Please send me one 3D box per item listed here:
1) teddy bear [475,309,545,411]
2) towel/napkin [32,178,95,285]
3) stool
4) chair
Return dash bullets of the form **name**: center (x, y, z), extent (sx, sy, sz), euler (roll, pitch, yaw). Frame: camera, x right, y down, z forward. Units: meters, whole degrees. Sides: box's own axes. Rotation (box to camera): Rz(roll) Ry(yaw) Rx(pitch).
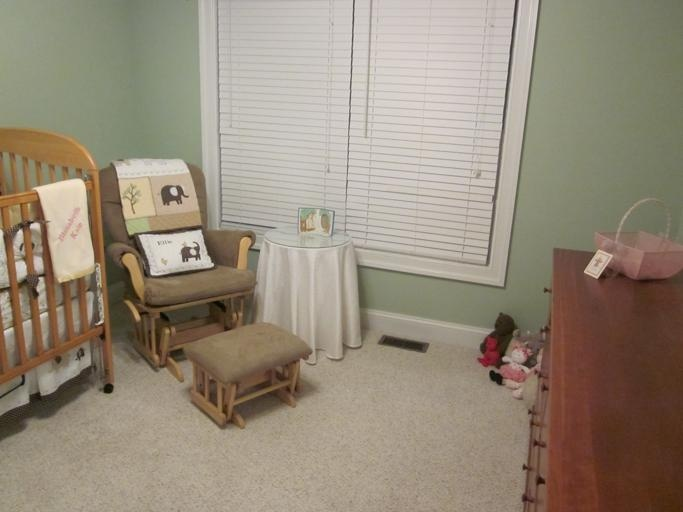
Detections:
- **teddy bear**: center (1.114, 0.662, 3.395), extent (0.421, 0.428, 0.750), euler (-10, 17, 10)
- **towel/napkin**: center (-1.456, -0.140, 2.728), extent (0.136, 0.509, 0.322), euler (9, 17, 36)
- **stool**: center (-0.543, 0.607, 2.969), extent (0.594, 0.399, 0.518), euler (-17, 32, -40)
- **chair**: center (-1.017, -0.064, 3.984), extent (1.142, 1.626, 1.342), euler (-10, 16, -34)
